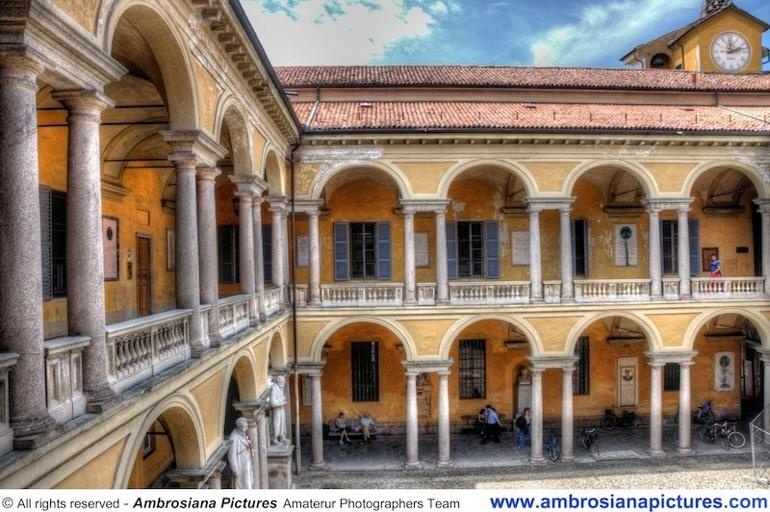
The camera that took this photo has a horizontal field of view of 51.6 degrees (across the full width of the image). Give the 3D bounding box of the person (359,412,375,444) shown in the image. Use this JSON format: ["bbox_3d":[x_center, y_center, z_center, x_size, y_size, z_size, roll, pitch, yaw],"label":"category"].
[{"bbox_3d":[-0.689,6.233,28.697,0.494,0.956,0.366,0,9,11],"label":"person"}]

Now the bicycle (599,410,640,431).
[{"bbox_3d":[8.919,6.292,30.239,1.449,0.790,0.667,2,-28,0],"label":"bicycle"}]

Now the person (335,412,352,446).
[{"bbox_3d":[-1.533,6.303,28.742,0.413,0.486,1.049,3,27,-7],"label":"person"}]

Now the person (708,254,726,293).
[{"bbox_3d":[11.745,0.581,28.371,0.429,1.309,0.433,-9,9,-41],"label":"person"}]

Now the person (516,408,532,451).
[{"bbox_3d":[4.826,6.074,27.870,0.544,1.289,0.740,1,9,8],"label":"person"}]

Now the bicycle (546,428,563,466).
[{"bbox_3d":[5.730,6.472,27.013,0.714,0.804,1.487,1,-2,4],"label":"bicycle"}]

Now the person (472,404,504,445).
[{"bbox_3d":[3.759,6.075,28.758,0.905,1.132,1.399,0,9,7],"label":"person"}]

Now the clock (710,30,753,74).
[{"bbox_3d":[14.667,-8.734,33.856,2.217,1.955,0.218,-2,16,-5],"label":"clock"}]

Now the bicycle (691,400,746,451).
[{"bbox_3d":[11.930,6.221,28.704,1.032,1.130,1.956,12,-8,-27],"label":"bicycle"}]

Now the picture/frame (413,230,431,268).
[{"bbox_3d":[1.355,-0.218,29.213,0.524,1.226,0.308,0,9,2],"label":"picture/frame"}]
